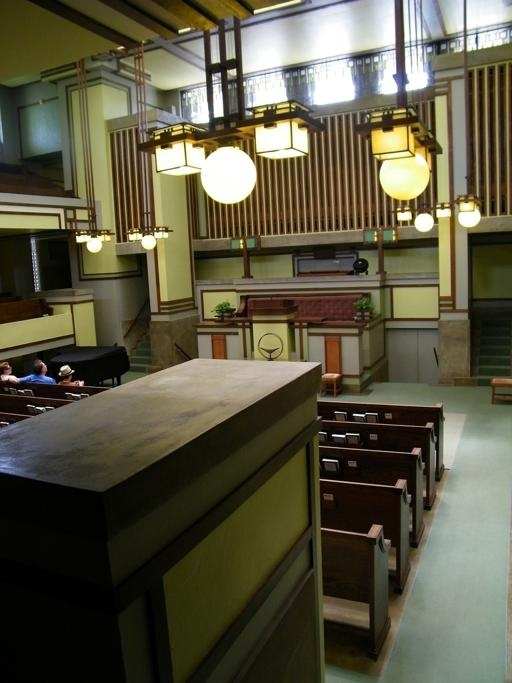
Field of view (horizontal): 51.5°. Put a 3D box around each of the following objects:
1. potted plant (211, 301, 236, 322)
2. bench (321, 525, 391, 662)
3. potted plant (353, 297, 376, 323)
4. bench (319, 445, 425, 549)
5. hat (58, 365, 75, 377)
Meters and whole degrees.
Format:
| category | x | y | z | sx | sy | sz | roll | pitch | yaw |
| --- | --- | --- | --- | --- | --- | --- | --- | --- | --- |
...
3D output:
| category | x | y | z | sx | sy | sz | roll | pitch | yaw |
| --- | --- | --- | --- | --- | --- | --- | --- | --- | --- |
| potted plant | -0.737 | -0.628 | 12.237 | 0.472 | 0.527 | 0.500 | 0 | 1 | -1 |
| bench | 0.673 | 1.618 | 3.532 | 0.461 | 0.861 | 0.383 | 1 | 9 | 12 |
| potted plant | 2.215 | -0.647 | 11.013 | 0.537 | 0.622 | 0.471 | -2 | 9 | -3 |
| bench | 0.939 | 1.259 | 4.266 | 0.994 | 0.663 | 0.389 | 4 | 16 | 23 |
| hat | -3.176 | 0.529 | 8.913 | 0.252 | 0.106 | 0.295 | -4 | 18 | -8 |
